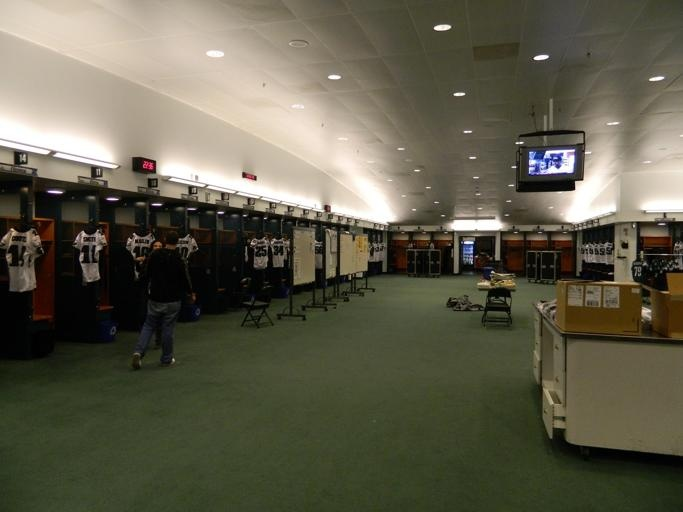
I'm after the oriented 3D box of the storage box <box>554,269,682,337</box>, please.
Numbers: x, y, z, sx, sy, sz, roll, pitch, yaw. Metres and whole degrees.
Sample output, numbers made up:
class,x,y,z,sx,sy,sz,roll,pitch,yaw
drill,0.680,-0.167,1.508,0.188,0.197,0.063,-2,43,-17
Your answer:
class,x,y,z,sx,sy,sz,roll,pitch,yaw
storage box,2.722,0.458,4.980,1.093,0.620,0.286,3,8,13

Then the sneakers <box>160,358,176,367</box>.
class,x,y,z,sx,sy,sz,roll,pitch,yaw
sneakers,-2.470,1.532,7.241,0.069,0.092,0.212,4,4,22

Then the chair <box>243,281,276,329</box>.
class,x,y,z,sx,sy,sz,roll,pitch,yaw
chair,-1.749,1.039,10.523,0.603,0.795,0.588,0,-1,12

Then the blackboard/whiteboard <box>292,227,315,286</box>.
class,x,y,z,sx,sy,sz,roll,pitch,yaw
blackboard/whiteboard,-0.857,0.000,11.410,0.133,1.369,1.253,0,5,16

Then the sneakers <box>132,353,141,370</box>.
class,x,y,z,sx,sy,sz,roll,pitch,yaw
sneakers,-2.884,1.483,7.102,0.093,0.288,0.125,3,6,-5

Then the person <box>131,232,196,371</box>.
class,x,y,z,sx,sy,sz,roll,pitch,yaw
person,-2.623,0.634,7.407,0.866,1.863,0.741,-3,9,-23
